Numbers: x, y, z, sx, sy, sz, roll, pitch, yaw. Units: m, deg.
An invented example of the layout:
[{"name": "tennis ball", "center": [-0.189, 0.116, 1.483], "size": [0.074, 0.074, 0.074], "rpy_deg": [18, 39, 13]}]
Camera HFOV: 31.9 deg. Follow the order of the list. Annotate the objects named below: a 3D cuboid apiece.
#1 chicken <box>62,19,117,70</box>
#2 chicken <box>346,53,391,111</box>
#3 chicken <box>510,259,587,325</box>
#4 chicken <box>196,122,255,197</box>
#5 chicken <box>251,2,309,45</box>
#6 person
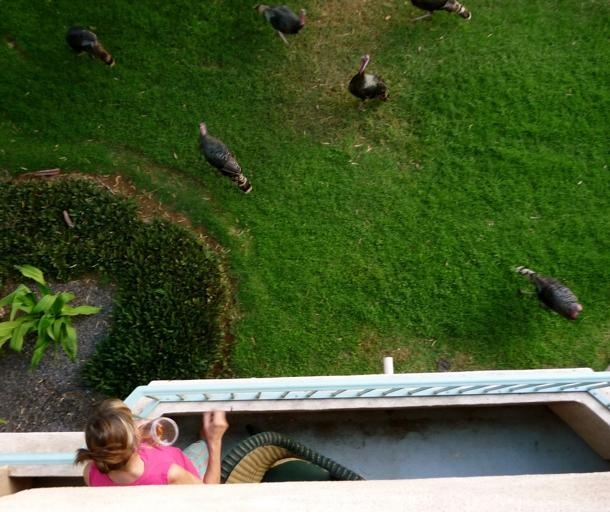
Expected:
[{"name": "chicken", "center": [-3.556, -3.574, 18.032], "size": [0.444, 0.974, 0.468], "rpy_deg": [-58, 30, 6]}, {"name": "chicken", "center": [1.134, -2.956, 17.657], "size": [0.695, 1.156, 0.673], "rpy_deg": [9, 59, 2]}, {"name": "chicken", "center": [3.922, 0.520, 16.830], "size": [0.540, 0.489, 1.491], "rpy_deg": [-11, 29, -17]}, {"name": "chicken", "center": [-1.301, -1.513, 17.457], "size": [1.032, 1.037, 0.478], "rpy_deg": [25, 62, 12]}, {"name": "chicken", "center": [-0.356, -3.888, 17.766], "size": [0.774, 0.607, 0.544], "rpy_deg": [-3, 38, -9]}, {"name": "person", "center": [-2.101, 2.662, 14.446], "size": [1.915, 1.501, 1.055], "rpy_deg": [-3, 59, -5]}]
